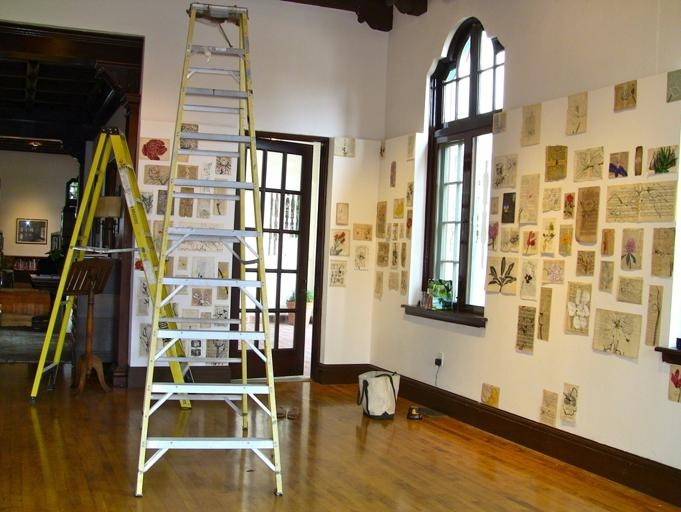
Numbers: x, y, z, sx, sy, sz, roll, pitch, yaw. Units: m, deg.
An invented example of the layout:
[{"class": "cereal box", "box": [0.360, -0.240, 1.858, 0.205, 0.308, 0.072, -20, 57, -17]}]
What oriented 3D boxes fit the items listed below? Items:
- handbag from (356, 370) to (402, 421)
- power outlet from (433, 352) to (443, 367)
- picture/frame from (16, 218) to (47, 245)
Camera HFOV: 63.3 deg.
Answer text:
[{"class": "handbag", "box": [0.380, 1.371, 5.531, 0.390, 0.419, 0.367, -1, -1, 21]}, {"class": "power outlet", "box": [1.012, 1.062, 5.704, 0.021, 0.106, 0.128, 1, 2, -32]}, {"class": "picture/frame", "box": [-8.162, -0.676, 14.483, 0.618, 0.631, 0.067, 1, -2, -26]}]
